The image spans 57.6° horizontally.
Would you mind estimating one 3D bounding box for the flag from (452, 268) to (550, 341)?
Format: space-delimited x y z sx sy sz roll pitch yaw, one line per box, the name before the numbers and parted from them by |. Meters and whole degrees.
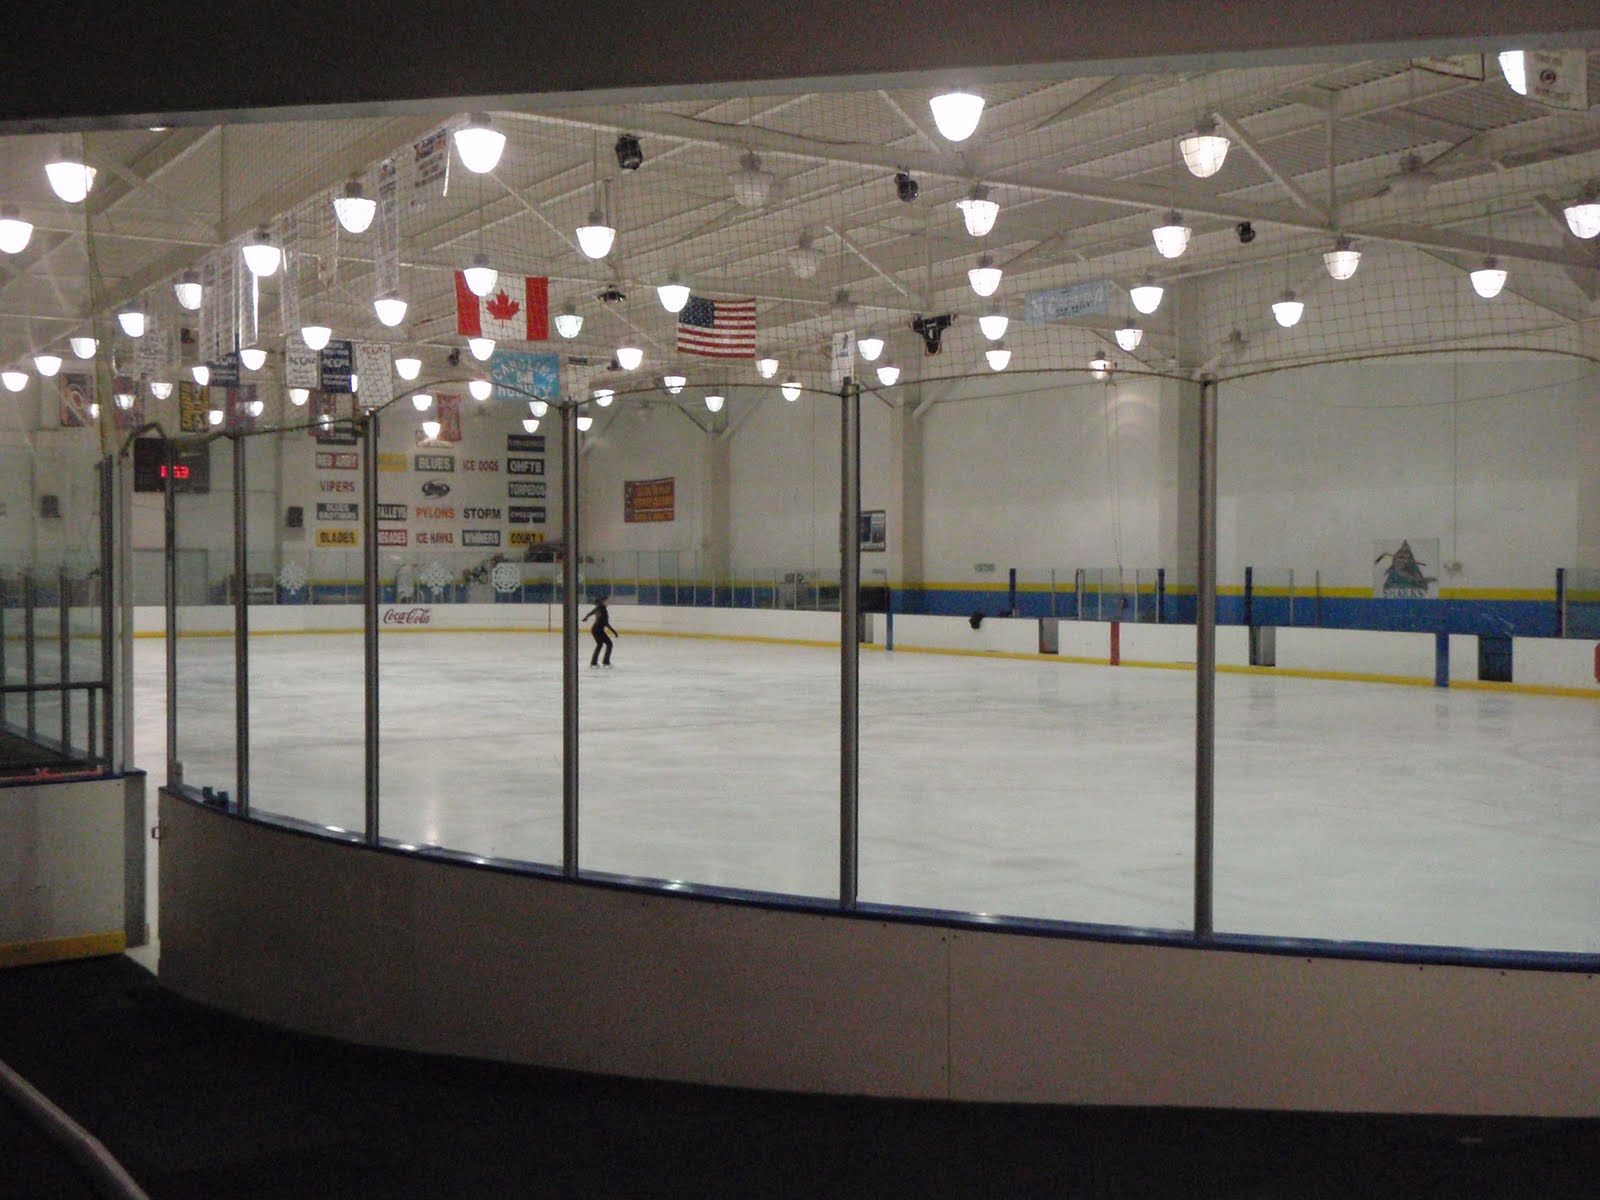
flag | -4.031 -3.960 19.756 1.173 0.961 1.162 -6 7 -17
